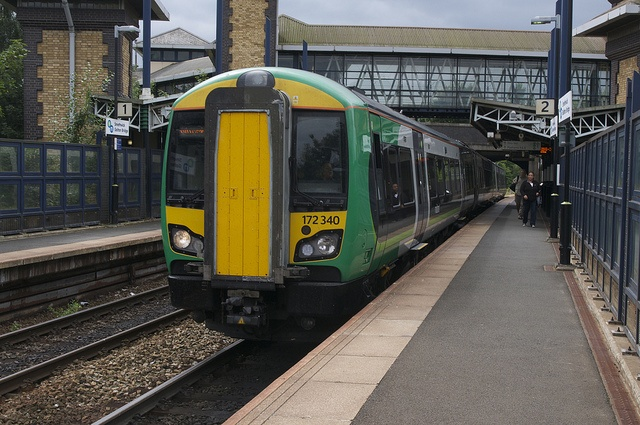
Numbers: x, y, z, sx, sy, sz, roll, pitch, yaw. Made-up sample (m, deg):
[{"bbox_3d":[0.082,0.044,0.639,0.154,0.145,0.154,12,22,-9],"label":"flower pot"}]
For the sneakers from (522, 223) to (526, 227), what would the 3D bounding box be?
[{"bbox_3d":[8.341,0.511,21.651,0.059,0.084,0.185,4,15,26],"label":"sneakers"}]

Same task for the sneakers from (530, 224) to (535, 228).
[{"bbox_3d":[8.629,0.554,21.486,0.101,0.131,0.320,0,-2,12],"label":"sneakers"}]
